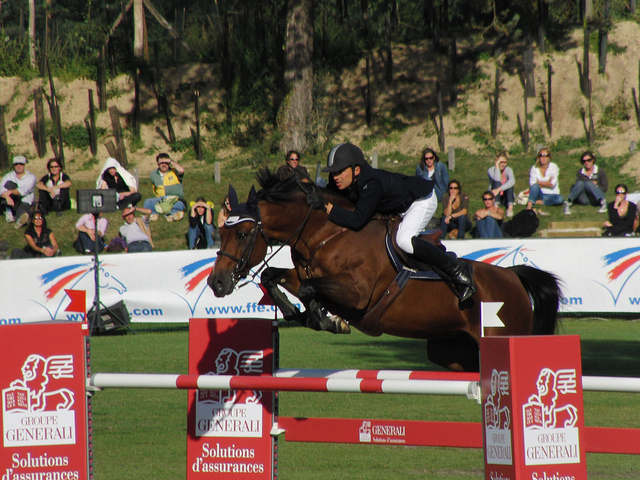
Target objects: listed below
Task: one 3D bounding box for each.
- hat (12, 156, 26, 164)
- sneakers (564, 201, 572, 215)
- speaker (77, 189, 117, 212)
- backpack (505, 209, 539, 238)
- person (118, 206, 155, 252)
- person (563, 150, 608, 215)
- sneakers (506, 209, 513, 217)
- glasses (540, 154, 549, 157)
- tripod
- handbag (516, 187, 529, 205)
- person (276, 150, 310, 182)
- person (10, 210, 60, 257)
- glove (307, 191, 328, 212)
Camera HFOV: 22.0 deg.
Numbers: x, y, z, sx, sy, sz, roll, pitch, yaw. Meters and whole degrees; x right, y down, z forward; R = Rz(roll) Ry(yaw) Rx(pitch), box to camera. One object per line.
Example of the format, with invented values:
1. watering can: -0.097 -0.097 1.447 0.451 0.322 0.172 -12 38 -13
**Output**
1. hat: -7.700 -2.094 42.140 0.289 0.168 0.458 -2 2 -5
2. sneakers: 6.210 -0.851 41.078 0.199 0.322 0.425 0 2 9
3. speaker: -5.192 -0.936 38.344 0.886 0.573 0.498 -1 2 -11
4. backpack: 4.909 -0.400 39.906 0.628 0.339 0.736 -46 22 -30
5. person: -4.482 -0.282 40.349 0.728 0.572 1.551 -4 41 -20
6. person: 6.703 -1.469 41.196 1.003 1.540 0.881 0 2 11
7. sneakers: 4.735 -0.697 40.861 0.117 0.156 0.140 -1 -5 -7
8. glasses: 5.635 -2.181 41.273 0.249 0.126 0.130 0 2 8
9. tripod: -4.979 0.828 38.218 0.767 2.707 1.261 1 2 39
10. handbag: 5.155 -1.110 41.682 0.265 0.393 0.347 3 10 42
11. person: -0.609 -1.799 39.061 0.881 0.914 0.499 -1 -1 -12
12. person: -6.826 -0.155 40.090 0.974 1.869 1.086 -1 2 -8
13. glove: -0.050 -0.831 33.630 0.389 0.316 0.136 38 -39 -10
